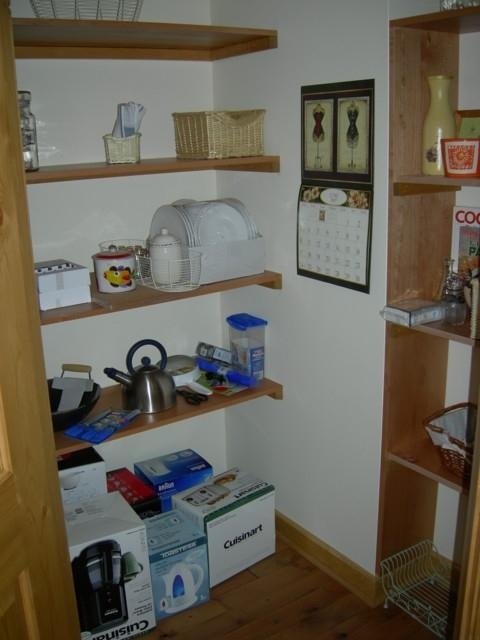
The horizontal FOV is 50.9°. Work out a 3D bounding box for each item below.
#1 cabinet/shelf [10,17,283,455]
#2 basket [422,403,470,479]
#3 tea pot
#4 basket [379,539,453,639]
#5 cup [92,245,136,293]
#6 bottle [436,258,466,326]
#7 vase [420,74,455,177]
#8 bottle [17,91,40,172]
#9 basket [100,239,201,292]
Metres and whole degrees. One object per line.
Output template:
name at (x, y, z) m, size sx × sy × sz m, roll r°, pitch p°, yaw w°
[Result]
cabinet/shelf at (-0.316, -0.325, 1.842) m, size 0.958 × 1.456 × 0.541 m, roll -10°, pitch 12°, yaw -36°
basket at (0.664, 0.380, 1.589) m, size 0.155 × 0.080 × 0.202 m, roll 6°, pitch 11°, yaw 43°
tea pot at (-0.392, 0.214, 1.962) m, size 0.190 × 0.273 × 0.303 m, roll 6°, pitch 9°, yaw 39°
basket at (0.664, 0.988, 1.855) m, size 0.209 × 0.121 × 0.262 m, roll -14°, pitch 23°, yaw -35°
cup at (-0.460, -0.189, 1.844) m, size 0.153 × 0.170 × 0.158 m, roll -1°, pitch 16°, yaw 0°
bottle at (0.639, -0.063, 1.504) m, size 0.074 × 0.145 × 0.082 m, roll 1°, pitch 11°, yaw 25°
vase at (0.544, -0.526, 1.378) m, size 0.085 × 0.260 × 0.086 m, roll 0°, pitch 10°, yaw 21°
bottle at (-0.634, -0.565, 1.527) m, size 0.066 × 0.233 × 0.061 m, roll 5°, pitch 6°, yaw -1°
basket at (-0.319, -0.207, 1.816) m, size 0.329 × 0.151 × 0.199 m, roll 16°, pitch 24°, yaw 34°
